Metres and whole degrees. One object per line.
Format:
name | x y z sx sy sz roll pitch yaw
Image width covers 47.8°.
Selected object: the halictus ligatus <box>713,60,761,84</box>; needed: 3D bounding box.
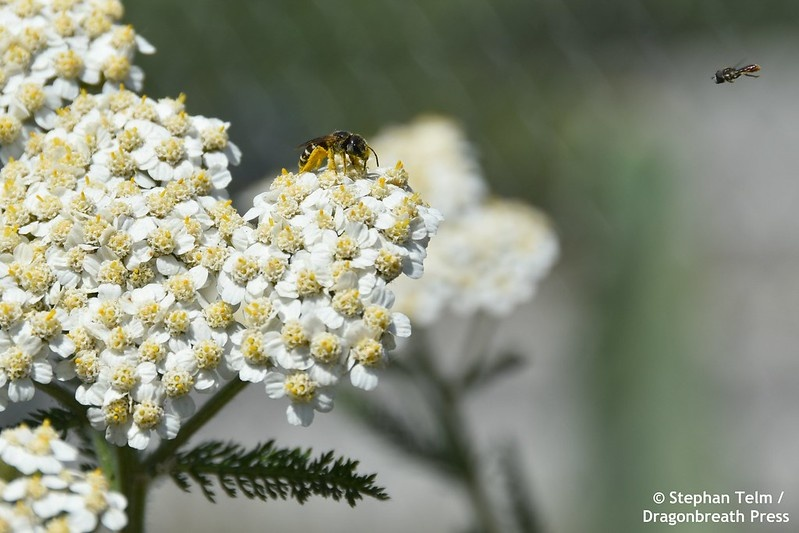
halictus ligatus | 1.797 -1.027 4.795 0.166 0.053 0.127 -22 -11 -9
